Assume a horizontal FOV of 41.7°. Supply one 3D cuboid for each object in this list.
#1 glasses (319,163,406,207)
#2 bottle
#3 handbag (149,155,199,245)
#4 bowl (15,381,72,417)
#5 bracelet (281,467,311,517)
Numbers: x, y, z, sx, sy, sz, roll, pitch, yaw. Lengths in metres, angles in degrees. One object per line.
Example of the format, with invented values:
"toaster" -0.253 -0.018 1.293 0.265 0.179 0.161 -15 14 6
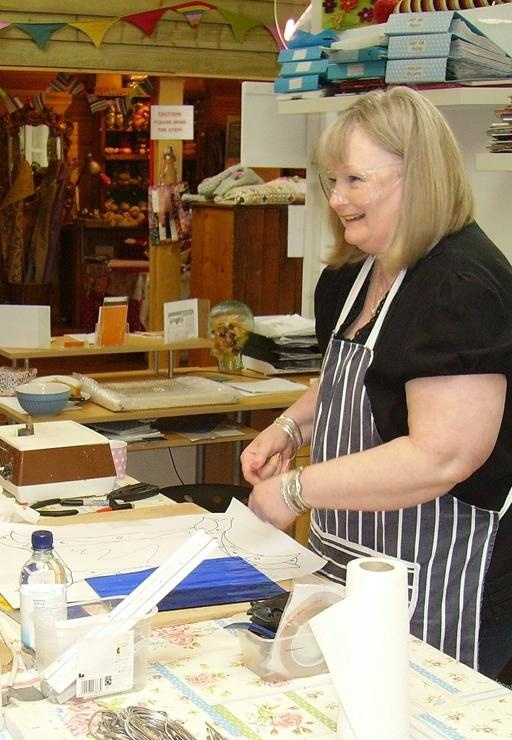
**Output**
"glasses" 0.218 -0.360 1.297 0.124 0.047 0.114 -11 12 -30
"bottle" -0.283 0.288 0.887 0.061 0.166 0.086 -5 12 -19
"handbag" -0.733 -1.427 5.555 0.347 0.771 0.257 -4 12 -15
"bowl" -0.852 0.097 2.676 0.172 0.080 0.161 3 11 0
"bracelet" 0.066 0.227 1.244 0.037 0.073 0.073 -5 2 6
